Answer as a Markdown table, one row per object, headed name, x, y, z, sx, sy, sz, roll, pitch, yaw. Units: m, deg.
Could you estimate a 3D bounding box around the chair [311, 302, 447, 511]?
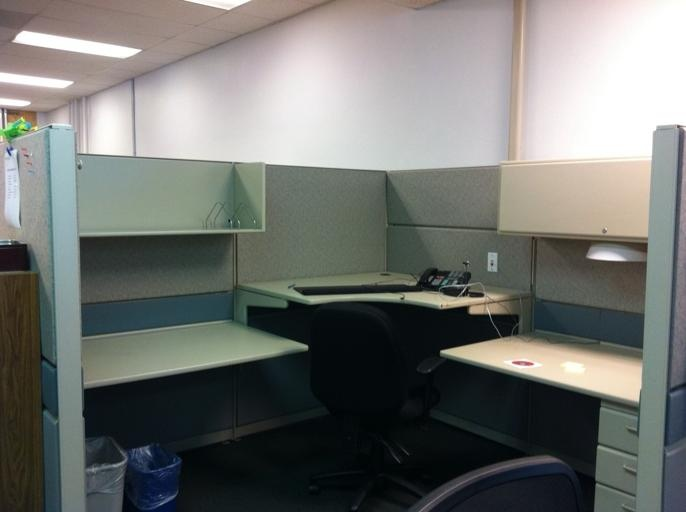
| name | x | y | z | sx | sy | sz | roll | pitch | yaw |
| --- | --- | --- | --- | --- | --- | --- | --- | --- | --- |
| chair | 0.139 | 0.636 | 2.456 | 0.520 | 0.924 | 0.431 | 6 | 10 | 35 |
